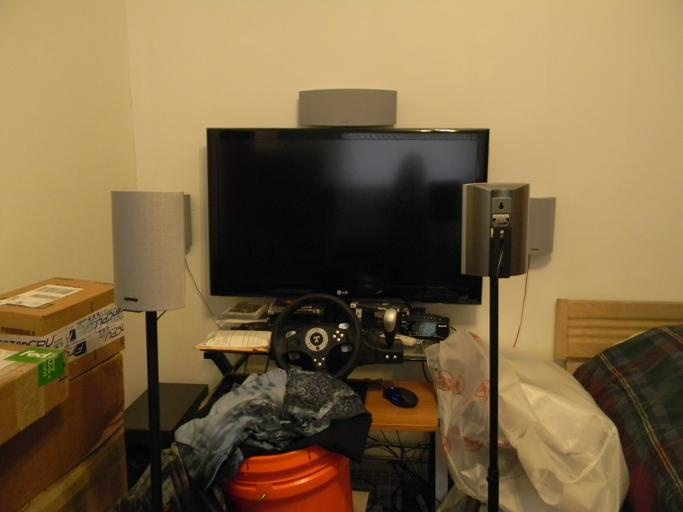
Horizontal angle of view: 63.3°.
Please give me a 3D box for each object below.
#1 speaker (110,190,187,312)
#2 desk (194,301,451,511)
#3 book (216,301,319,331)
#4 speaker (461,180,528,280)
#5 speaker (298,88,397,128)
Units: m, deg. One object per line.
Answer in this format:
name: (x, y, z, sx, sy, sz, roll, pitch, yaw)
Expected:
speaker: (-0.661, -0.009, 1.905, 0.246, 0.422, 0.129, -4, 12, -18)
desk: (0.026, 0.565, 2.703, 1.330, 0.715, 0.898, 2, 32, 3)
book: (-0.397, 0.288, 2.720, 0.227, 0.078, 0.320, 2, 10, 9)
speaker: (0.550, -0.094, 1.992, 0.225, 0.323, 0.104, 2, 11, 14)
speaker: (0.030, -0.704, 2.655, 0.476, 0.178, 0.124, 0, 11, 2)
